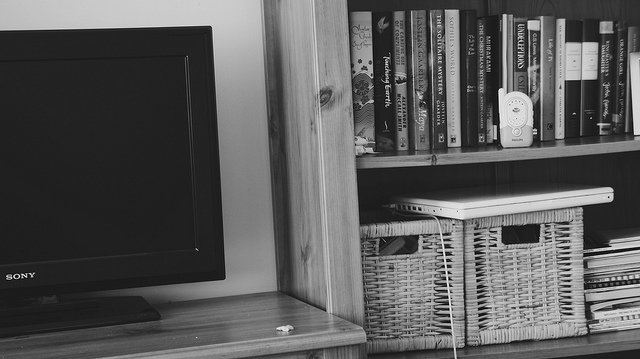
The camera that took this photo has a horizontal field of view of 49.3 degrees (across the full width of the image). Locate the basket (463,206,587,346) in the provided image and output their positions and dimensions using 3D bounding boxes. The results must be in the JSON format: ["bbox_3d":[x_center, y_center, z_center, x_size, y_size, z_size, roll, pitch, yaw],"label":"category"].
[{"bbox_3d":[0.634,0.289,2.199,0.535,0.385,0.129,0,0,-11],"label":"basket"}]

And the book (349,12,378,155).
[{"bbox_3d":[0.137,-0.320,2.216,0.072,0.425,0.094,-3,10,13],"label":"book"}]

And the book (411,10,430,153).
[{"bbox_3d":[0.317,-0.322,2.245,0.054,0.442,0.083,-3,10,11],"label":"book"}]

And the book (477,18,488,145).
[{"bbox_3d":[0.524,-0.322,2.270,0.031,0.408,0.079,-1,11,22],"label":"book"}]

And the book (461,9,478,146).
[{"bbox_3d":[0.483,-0.332,2.263,0.045,0.438,0.085,-1,11,22],"label":"book"}]

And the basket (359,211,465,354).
[{"bbox_3d":[0.299,0.320,2.160,0.269,0.404,0.271,0,11,25],"label":"basket"}]

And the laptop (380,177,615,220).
[{"bbox_3d":[0.557,0.063,2.308,0.666,0.088,0.386,-4,9,-10],"label":"laptop"}]
